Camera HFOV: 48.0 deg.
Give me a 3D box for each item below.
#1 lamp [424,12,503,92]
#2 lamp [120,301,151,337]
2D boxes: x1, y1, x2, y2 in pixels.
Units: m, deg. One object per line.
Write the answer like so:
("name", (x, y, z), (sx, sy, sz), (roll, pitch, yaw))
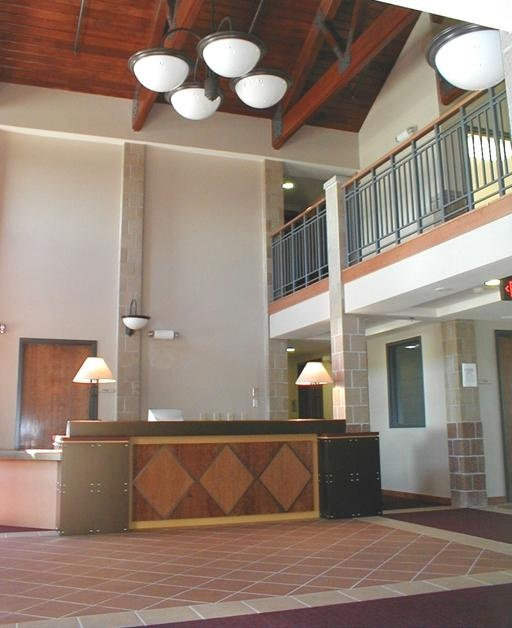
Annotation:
("lamp", (1.141, -1.436, 3.161), (0.397, 0.292, 0.428), (-4, -9, 19))
("lamp", (-1.811, 0.021, 8.664), (0.427, 0.568, 0.448), (1, -9, -12))
